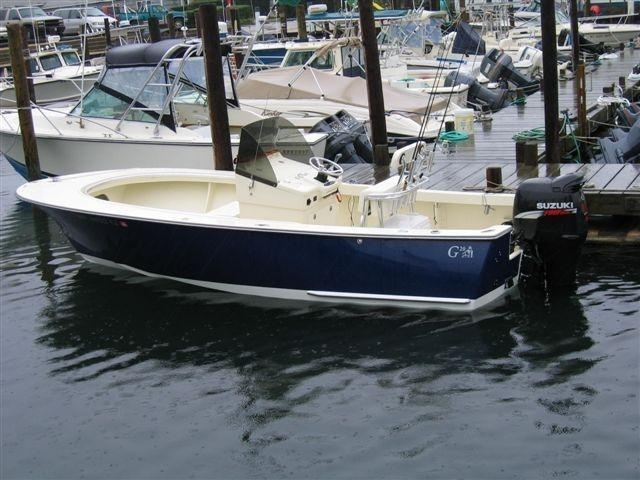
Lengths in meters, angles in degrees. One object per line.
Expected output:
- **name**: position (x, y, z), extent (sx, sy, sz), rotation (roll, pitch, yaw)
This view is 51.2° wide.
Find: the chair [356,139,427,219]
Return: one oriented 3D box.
- **chair**: position (0.819, -0.601, 7.241), extent (0.606, 0.881, 1.136), rotation (8, 22, 22)
